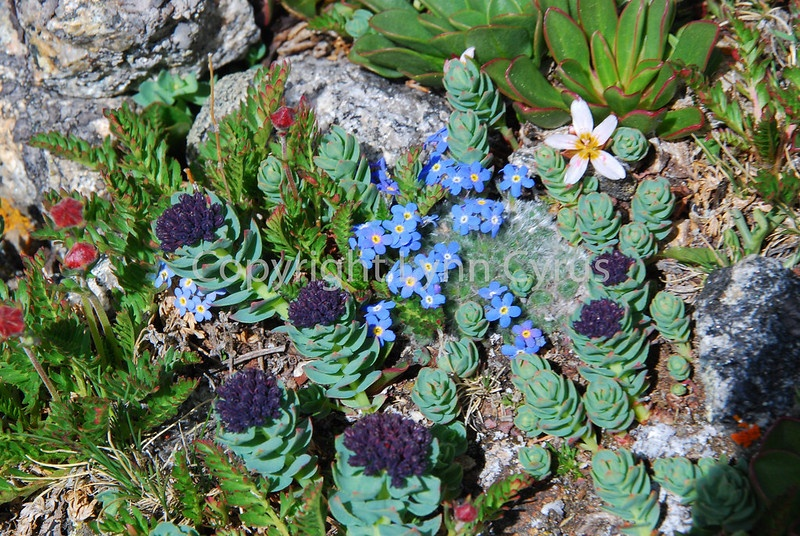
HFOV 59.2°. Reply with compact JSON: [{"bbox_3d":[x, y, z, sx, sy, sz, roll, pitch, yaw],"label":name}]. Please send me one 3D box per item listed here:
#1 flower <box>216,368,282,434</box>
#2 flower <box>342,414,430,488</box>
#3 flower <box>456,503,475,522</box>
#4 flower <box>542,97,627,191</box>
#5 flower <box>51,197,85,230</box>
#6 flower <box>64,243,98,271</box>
[{"bbox_3d":[-0.871,0.753,4.048,0.394,0.138,0.338,-25,66,-5],"label":"flower"},{"bbox_3d":[-0.061,0.981,3.915,0.383,0.225,0.377,30,44,27],"label":"flower"},{"bbox_3d":[0.362,1.351,3.890,0.118,0.129,0.090,-14,64,0],"label":"flower"},{"bbox_3d":[1.216,-0.794,4.436,0.505,0.242,0.593,23,94,24],"label":"flower"},{"bbox_3d":[-2.026,-0.331,4.353,0.172,0.104,0.182,26,90,0],"label":"flower"},{"bbox_3d":[-1.960,-0.061,4.378,0.166,0.088,0.169,-43,84,-7],"label":"flower"}]
